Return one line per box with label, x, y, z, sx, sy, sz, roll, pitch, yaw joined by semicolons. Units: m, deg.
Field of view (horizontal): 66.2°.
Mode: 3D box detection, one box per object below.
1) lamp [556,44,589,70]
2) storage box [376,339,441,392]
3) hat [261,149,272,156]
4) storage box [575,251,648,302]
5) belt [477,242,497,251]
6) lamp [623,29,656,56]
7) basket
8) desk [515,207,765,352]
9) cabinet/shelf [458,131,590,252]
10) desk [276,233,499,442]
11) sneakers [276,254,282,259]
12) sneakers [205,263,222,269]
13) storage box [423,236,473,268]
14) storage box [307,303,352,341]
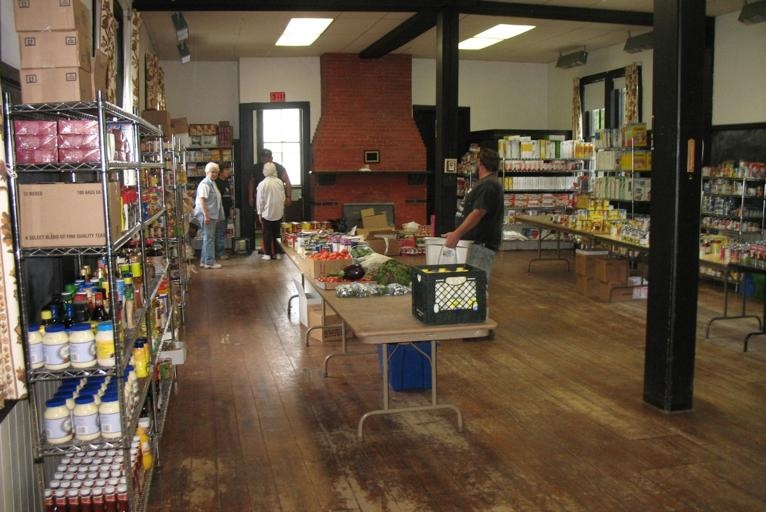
lamp;4.085;-4.315;12.653;0.307;0.353;0.563;14;-10;-38
storage box;0.211;1.034;5.634;0.538;0.500;0.516;-1;7;-14
hat;-2.501;-2.200;12.525;0.176;0.198;0.211;0;11;-1
storage box;3.464;0.201;8.954;0.892;0.615;0.855;-1;7;-10
belt;1.218;-0.106;6.735;0.133;0.031;0.132;14;-16;35
lamp;4.558;-3.835;10.436;0.444;0.337;0.798;3;13;18
basket;0.451;0.262;4.300;0.467;0.333;0.443;-2;6;-10
desk;3.900;0.141;8.671;1.327;0.925;4.590;-4;12;-17
cabinet/shelf;2.787;-1.316;11.132;2.815;2.592;0.949;-1;11;0
desk;-0.025;0.767;5.219;0.982;1.172;2.446;-5;13;-17
sneakers;-2.250;0.014;12.745;0.095;0.085;0.151;0;-1;-8
sneakers;-3.369;0.205;11.602;0.302;0.122;0.114;-3;13;-16
storage box;0.597;-0.047;5.837;0.293;0.323;0.346;-1;4;-23
storage box;-0.669;0.792;7.067;0.486;0.343;0.472;-1;4;-15
